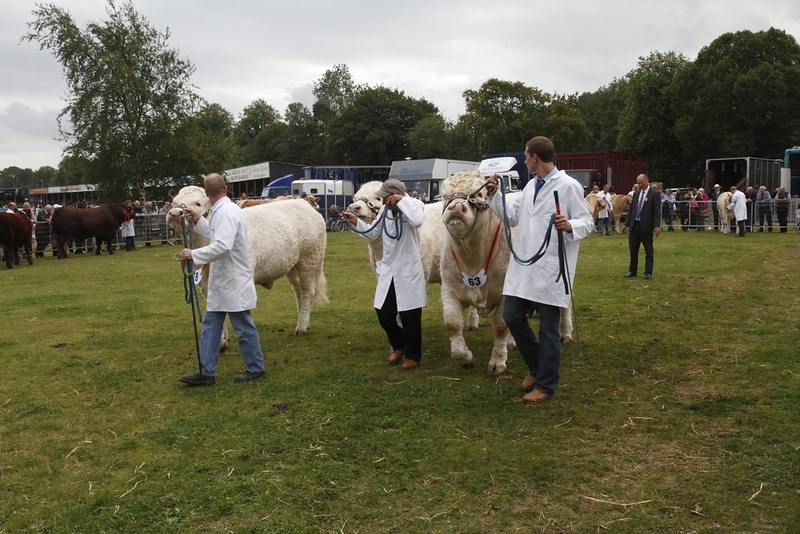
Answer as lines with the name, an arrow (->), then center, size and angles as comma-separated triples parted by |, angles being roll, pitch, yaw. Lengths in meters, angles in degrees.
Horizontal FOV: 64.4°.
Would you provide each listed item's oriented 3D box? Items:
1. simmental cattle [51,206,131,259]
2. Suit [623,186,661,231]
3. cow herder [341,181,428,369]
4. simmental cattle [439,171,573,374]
simmental cattle -> -11.020, -1.389, 23.175 | 0.923, 1.915, 2.940 | 9, 11, 39
Suit -> 5.628, -1.362, 14.679 | 0.457, 0.925, 0.741 | -18, 21, -40
cow herder -> -0.210, 0.076, 9.536 | 1.115, 2.854, 1.250 | 1, 0, 5
simmental cattle -> 1.881, 0.037, 8.857 | 1.697, 2.358, 3.331 | 1, 0, 9
